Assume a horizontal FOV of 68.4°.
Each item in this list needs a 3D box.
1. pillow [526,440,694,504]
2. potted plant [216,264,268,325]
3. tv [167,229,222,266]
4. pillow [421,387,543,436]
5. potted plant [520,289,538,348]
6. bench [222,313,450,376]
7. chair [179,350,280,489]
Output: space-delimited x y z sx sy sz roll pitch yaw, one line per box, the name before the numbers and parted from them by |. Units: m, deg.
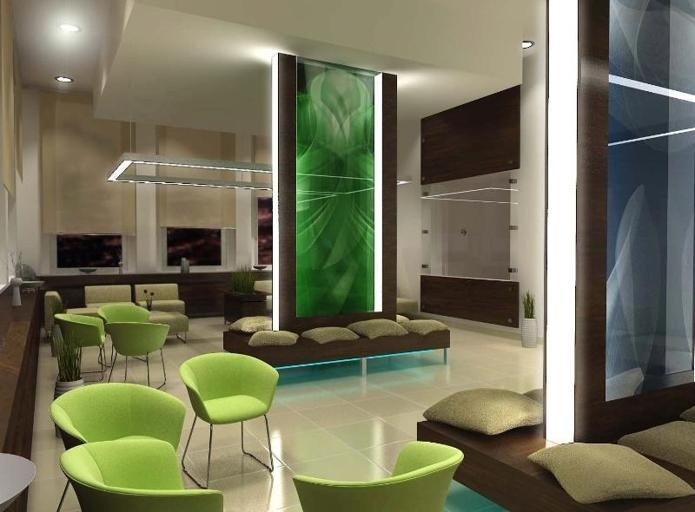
pillow | 1.422 1.172 2.757 0.360 0.106 0.363 -2 -1 -9
potted plant | -1.894 0.687 9.348 0.468 0.761 0.577 9 7 26
tv | -3.398 -0.180 11.163 0.826 0.578 0.083 1 -1 -33
pillow | 0.950 1.105 3.601 0.664 0.199 0.549 -1 -1 -38
potted plant | 2.801 0.970 7.877 0.241 0.809 0.408 2 4 19
bench | -0.094 1.126 6.426 2.682 0.604 0.714 -1 4 -19
chair | -0.927 1.206 3.895 0.713 0.805 0.586 1 -3 -31
